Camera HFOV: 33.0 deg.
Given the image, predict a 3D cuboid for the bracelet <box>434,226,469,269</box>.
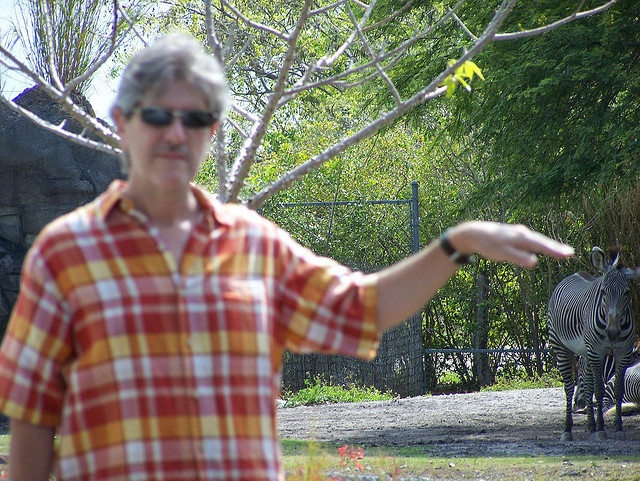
[{"bbox_3d":[0.676,0.036,5.531,0.050,0.163,0.175,-40,-13,-8],"label":"bracelet"}]
